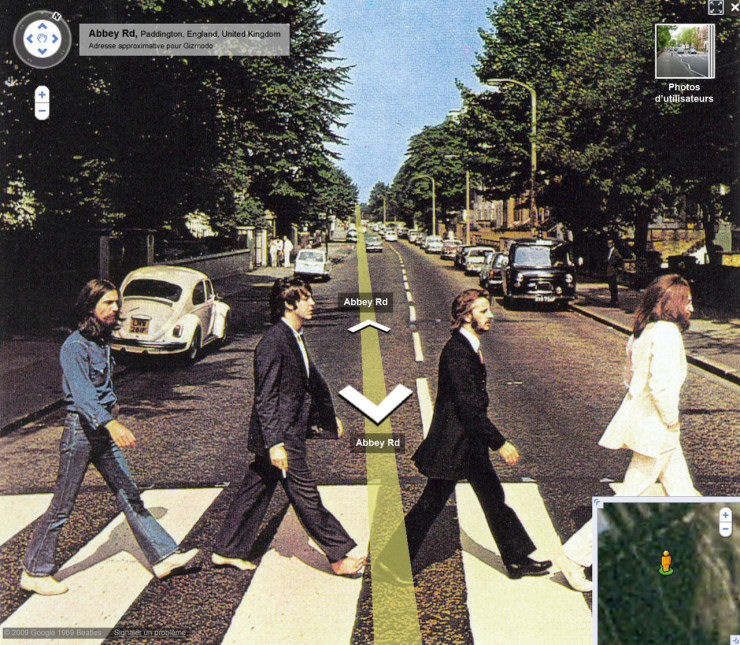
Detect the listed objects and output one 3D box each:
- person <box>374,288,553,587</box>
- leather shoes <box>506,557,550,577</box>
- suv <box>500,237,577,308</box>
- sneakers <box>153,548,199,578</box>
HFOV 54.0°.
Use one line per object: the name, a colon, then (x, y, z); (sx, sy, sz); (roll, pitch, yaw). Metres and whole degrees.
person: (0.622, 0.846, 5.066); (1.219, 2.067, 0.693); (-2, 5, 0)
leather shoes: (1.080, 1.693, 5.014); (0.240, 0.126, 0.094); (-5, 21, -7)
suv: (5.057, -1.563, 20.895); (1.202, 1.375, 2.413); (0, 0, 3)
sneakers: (-1.386, 1.710, 5.148); (0.040, 0.151, 0.383); (-15, 1, 24)
